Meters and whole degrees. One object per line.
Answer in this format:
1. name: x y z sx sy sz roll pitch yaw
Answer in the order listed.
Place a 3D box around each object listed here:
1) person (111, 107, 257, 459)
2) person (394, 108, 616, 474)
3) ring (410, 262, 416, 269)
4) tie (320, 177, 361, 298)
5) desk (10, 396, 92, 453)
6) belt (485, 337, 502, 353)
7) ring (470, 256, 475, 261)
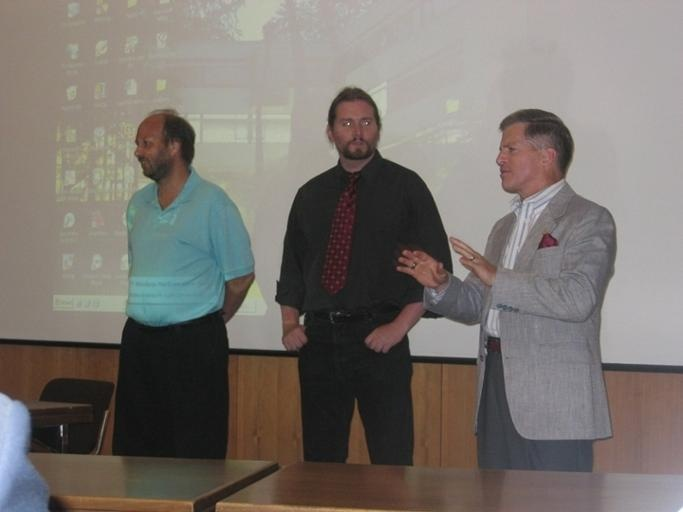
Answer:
1. person: -0.820 0.099 3.520 0.688 1.767 0.575 1 0 -3
2. person: 0.746 0.143 2.783 0.741 1.521 0.512 1 0 24
3. ring: 0.315 0.044 2.891 0.022 0.024 0.007 7 -8 36
4. tie: -0.004 -0.075 3.292 0.120 0.666 0.035 9 -24 8
5. desk: -1.322 0.824 3.126 0.295 0.242 0.482 1 0 -25
6. belt: 0.651 0.379 2.817 0.040 0.042 0.057 0 3 -15
7. ring: 0.535 0.014 2.685 0.017 0.017 0.004 -1 -26 5
